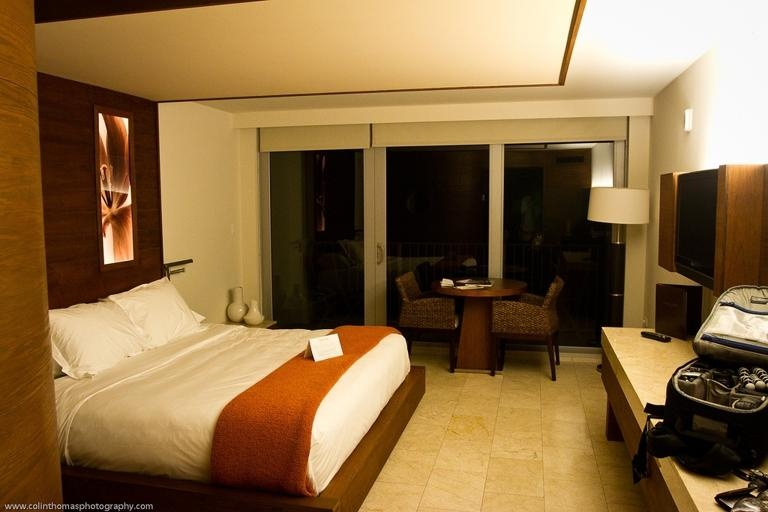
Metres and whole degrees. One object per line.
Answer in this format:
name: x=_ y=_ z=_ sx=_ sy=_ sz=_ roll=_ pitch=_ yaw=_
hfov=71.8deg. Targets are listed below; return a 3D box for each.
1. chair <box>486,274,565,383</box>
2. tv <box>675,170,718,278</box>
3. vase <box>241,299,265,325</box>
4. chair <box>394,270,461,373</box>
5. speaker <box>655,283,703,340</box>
chair: x=1.503 y=0.737 z=6.012 sx=0.943 sy=1.402 sz=1.008 roll=0 pitch=-1 yaw=14
tv: x=2.114 y=-0.212 z=3.666 sx=0.836 sy=0.804 sz=0.087 roll=0 pitch=4 yaw=-41
vase: x=-1.534 y=0.663 z=6.356 sx=0.266 sy=0.268 sz=0.260 roll=-1 pitch=2 yaw=-45
chair: x=0.560 y=0.679 z=5.918 sx=0.727 sy=0.888 sz=0.753 roll=-1 pitch=4 yaw=0
speaker: x=2.179 y=0.400 z=3.944 sx=0.305 sy=0.342 sz=0.255 roll=3 pitch=11 yaw=40
